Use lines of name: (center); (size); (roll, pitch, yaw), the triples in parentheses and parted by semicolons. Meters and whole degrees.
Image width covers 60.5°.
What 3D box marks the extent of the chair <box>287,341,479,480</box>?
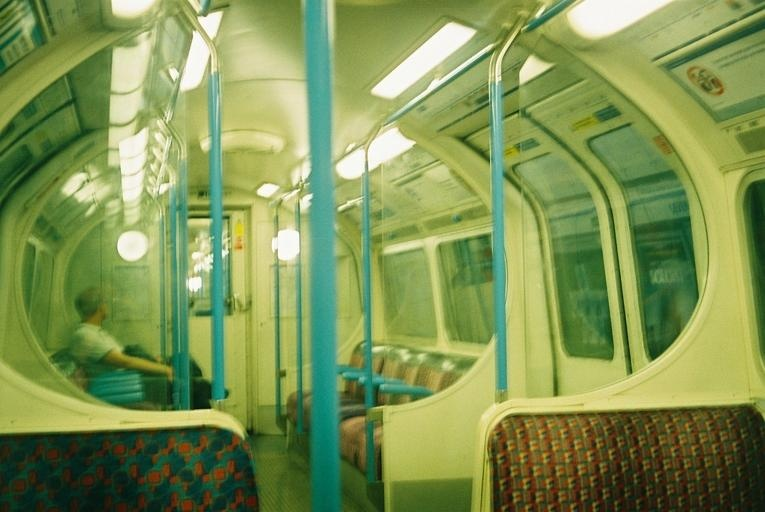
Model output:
chair: (-0.064, 1.375, 6.080); (0.890, 1.268, 2.041); (5, -19, -31)

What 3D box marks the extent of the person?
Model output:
person: (-1.620, 0.654, 4.603); (1.028, 0.802, 0.509); (6, -1, -23)
